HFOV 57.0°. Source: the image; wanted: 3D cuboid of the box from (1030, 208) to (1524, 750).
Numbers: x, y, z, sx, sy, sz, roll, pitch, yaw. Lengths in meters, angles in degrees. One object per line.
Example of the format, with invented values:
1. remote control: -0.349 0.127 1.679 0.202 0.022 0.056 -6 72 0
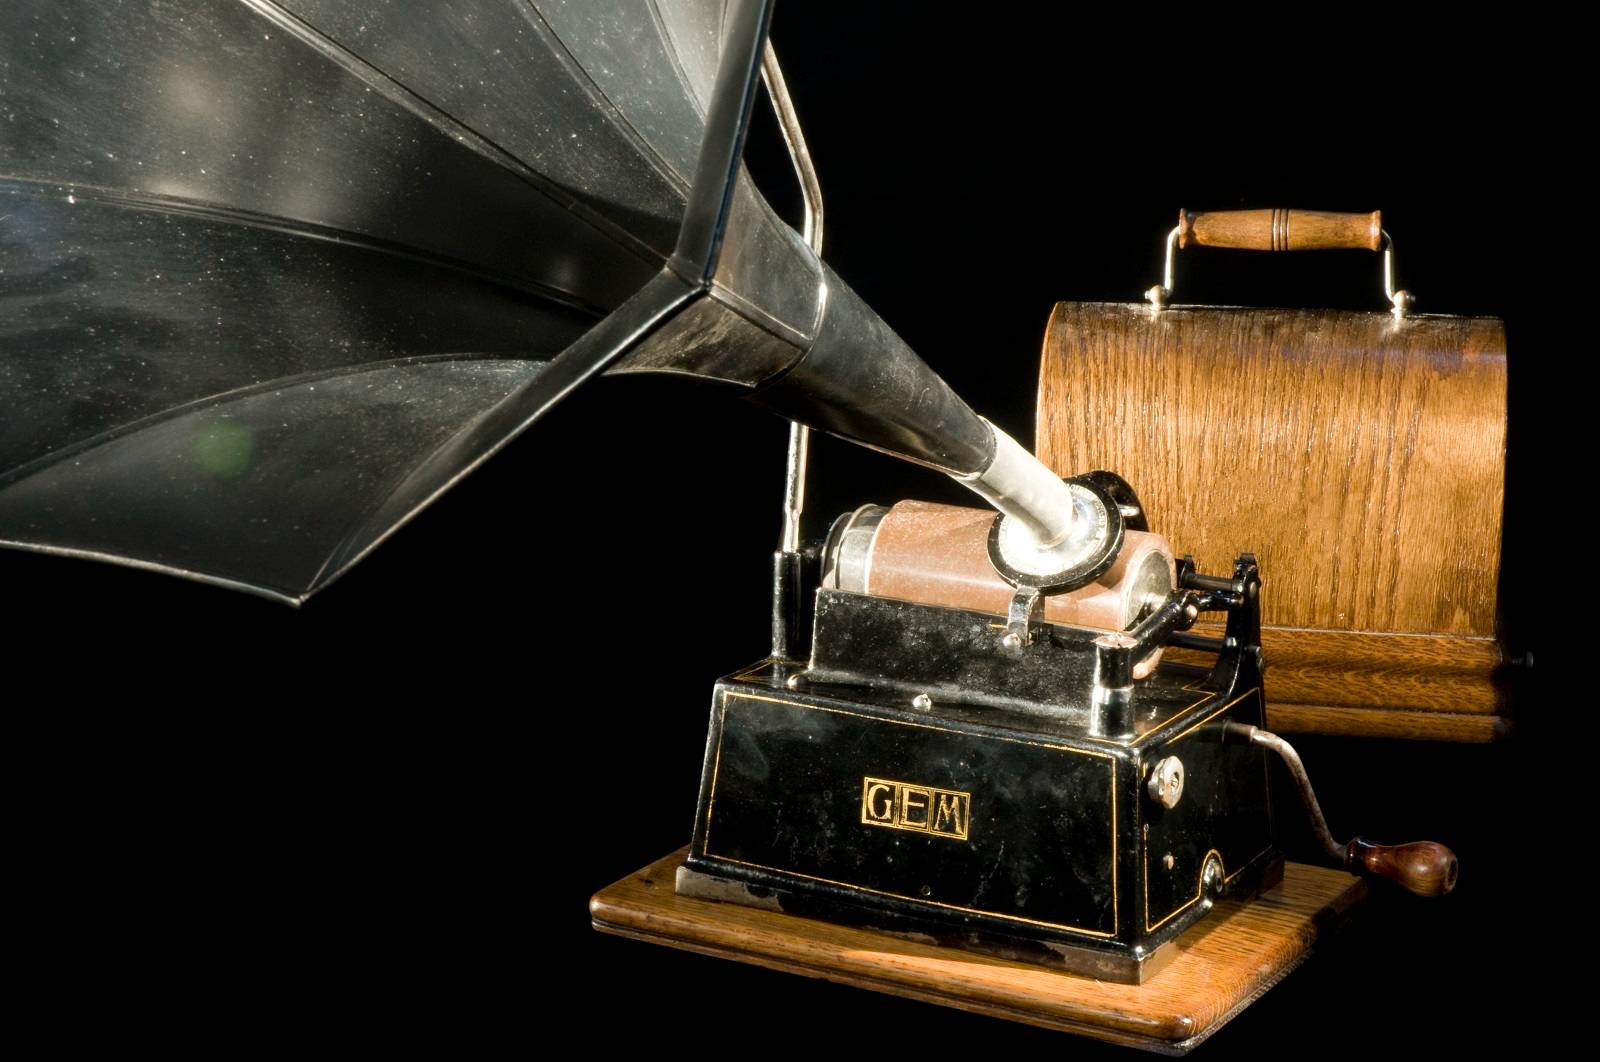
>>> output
1. box: 0.602 -0.110 1.880 0.574 0.567 0.353 3 21 19
